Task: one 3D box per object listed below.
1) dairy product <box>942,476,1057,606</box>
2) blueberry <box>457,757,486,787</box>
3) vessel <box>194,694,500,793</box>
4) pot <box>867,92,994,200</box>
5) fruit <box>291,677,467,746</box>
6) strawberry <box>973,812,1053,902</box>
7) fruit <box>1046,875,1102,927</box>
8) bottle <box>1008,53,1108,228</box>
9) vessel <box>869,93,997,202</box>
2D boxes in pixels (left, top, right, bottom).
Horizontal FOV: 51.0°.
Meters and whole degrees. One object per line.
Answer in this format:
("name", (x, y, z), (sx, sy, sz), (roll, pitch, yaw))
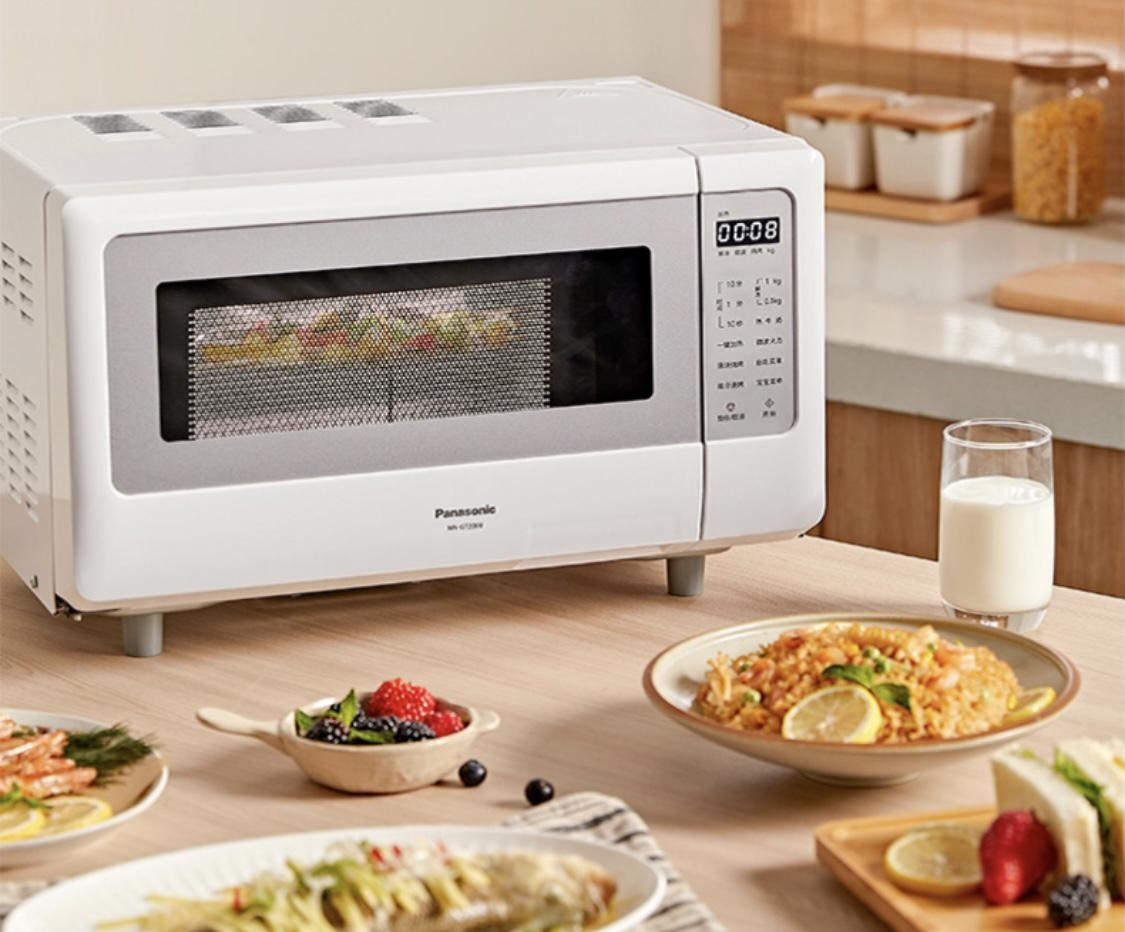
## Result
("dairy product", (0.349, 0.064, 0.953), (0.084, 0.109, 0.046), (-3, 19, 12))
("blueberry", (-0.055, 0.192, 0.739), (0.021, 0.014, 0.017), (-1, 5, 13))
("vessel", (-0.137, 0.163, 0.727), (0.128, 0.023, 0.081), (-1, 5, -8))
("pot", (0.720, -0.559, 2.103), (0.245, 0.145, 0.256), (-4, 21, 2))
("fruit", (-0.105, 0.149, 0.733), (0.067, 0.017, 0.049), (-3, 6, -11))
("strawberry", (0.219, 0.192, 0.578), (0.039, 0.037, 0.027), (-17, 20, -32))
("fruit", (0.241, 0.206, 0.557), (0.025, 0.011, 0.028), (2, 12, 7))
("bottle", (0.832, -0.543, 1.971), (0.145, 0.273, 0.119), (-1, 20, 21))
("vessel", (0.632, -0.547, 2.041), (0.200, 0.127, 0.248), (6, 11, 35))
